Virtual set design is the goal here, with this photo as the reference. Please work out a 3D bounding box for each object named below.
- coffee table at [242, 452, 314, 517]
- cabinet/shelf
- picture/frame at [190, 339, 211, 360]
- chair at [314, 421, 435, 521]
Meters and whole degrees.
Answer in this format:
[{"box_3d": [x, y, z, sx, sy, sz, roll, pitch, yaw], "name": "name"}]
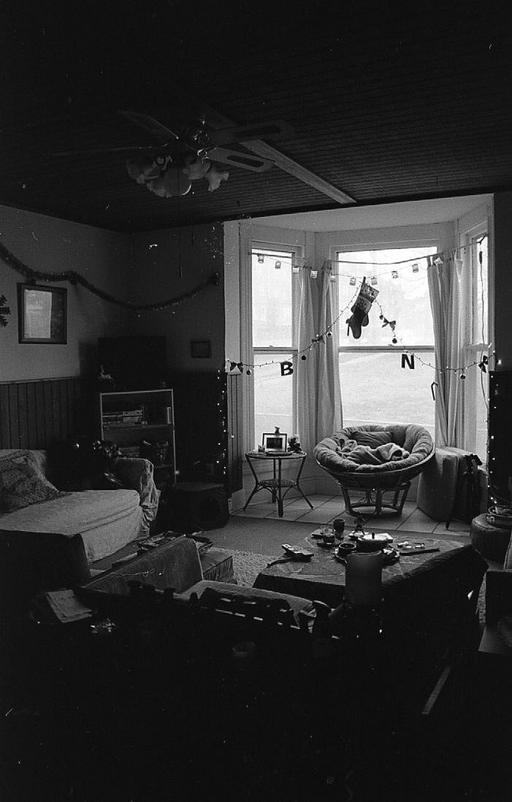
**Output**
[{"box_3d": [0.141, 0.645, 4.465, 0.401, 0.487, 0.448, -9, 6, -30], "name": "coffee table"}, {"box_3d": [-0.787, 0.243, 3.732, 0.429, 1.064, 0.222, 2, -7, -27], "name": "cabinet/shelf"}, {"box_3d": [-0.395, -0.374, 4.098, 0.112, 0.147, 0.031, -1, -7, -14], "name": "picture/frame"}, {"box_3d": [0.871, 0.442, 4.035, 0.599, 0.580, 0.700, -1, -1, 27], "name": "chair"}]
